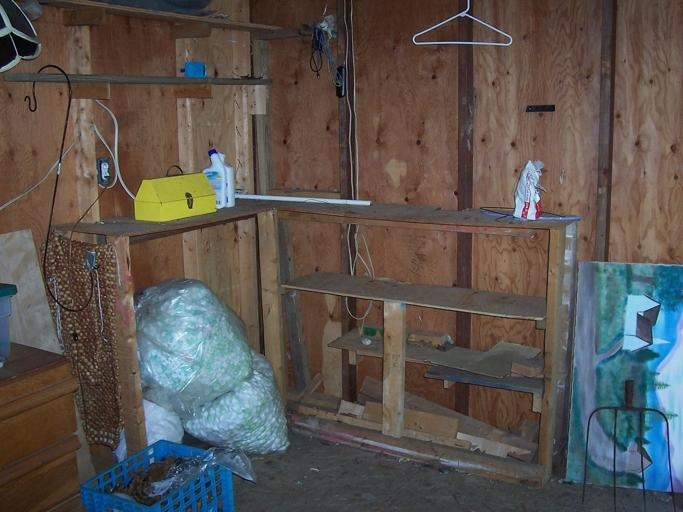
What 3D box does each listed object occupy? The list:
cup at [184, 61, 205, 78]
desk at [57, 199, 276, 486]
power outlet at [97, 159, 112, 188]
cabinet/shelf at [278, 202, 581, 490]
[{"bbox_3d":[-0.822,-1.052,3.438,0.114,0.091,0.117,2,23,-1],"label":"cup"},{"bbox_3d":[-0.882,0.132,3.520,0.888,1.062,0.470,-16,39,-31],"label":"desk"},{"bbox_3d":[-1.269,-0.453,3.268,0.038,0.120,0.112,1,4,4],"label":"power outlet"},{"bbox_3d":[0.555,0.525,3.473,1.302,1.245,0.400,4,6,26],"label":"cabinet/shelf"}]
